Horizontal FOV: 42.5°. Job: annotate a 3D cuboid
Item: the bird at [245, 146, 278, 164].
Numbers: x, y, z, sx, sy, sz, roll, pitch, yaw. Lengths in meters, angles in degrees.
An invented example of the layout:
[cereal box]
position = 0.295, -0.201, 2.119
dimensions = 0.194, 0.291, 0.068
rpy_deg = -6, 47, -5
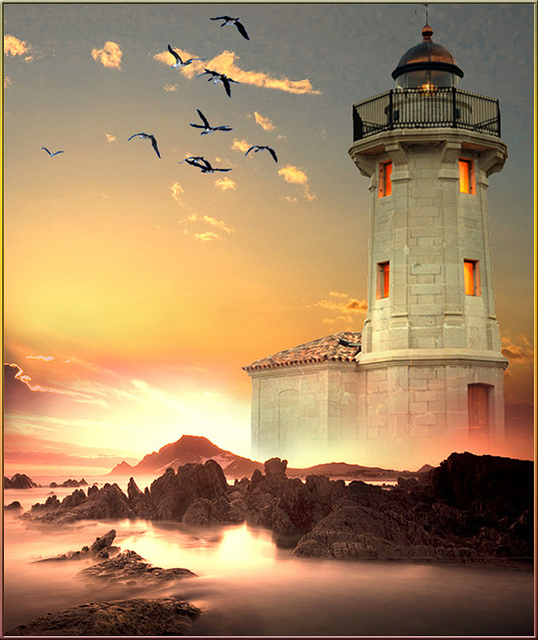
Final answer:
[bird]
position = -0.225, -5.768, 23.727
dimensions = 0.909, 0.587, 2.165
rpy_deg = -3, 1, -5
